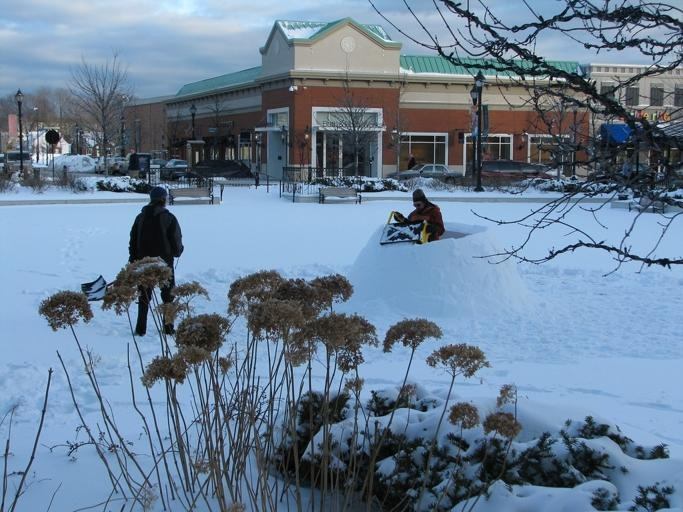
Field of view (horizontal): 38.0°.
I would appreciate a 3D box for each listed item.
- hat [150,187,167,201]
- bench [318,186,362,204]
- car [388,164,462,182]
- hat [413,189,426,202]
[{"bbox_3d":[-2.512,-0.884,13.553,0.188,0.208,0.176,13,26,38],"label":"hat"},{"bbox_3d":[-0.102,-1.824,28.626,1.384,0.511,0.728,-3,-9,0],"label":"bench"},{"bbox_3d":[3.456,-3.494,41.582,2.756,0.986,1.287,2,5,-14],"label":"car"},{"bbox_3d":[1.225,-0.958,15.945,0.144,0.184,0.215,-6,35,27],"label":"hat"}]
